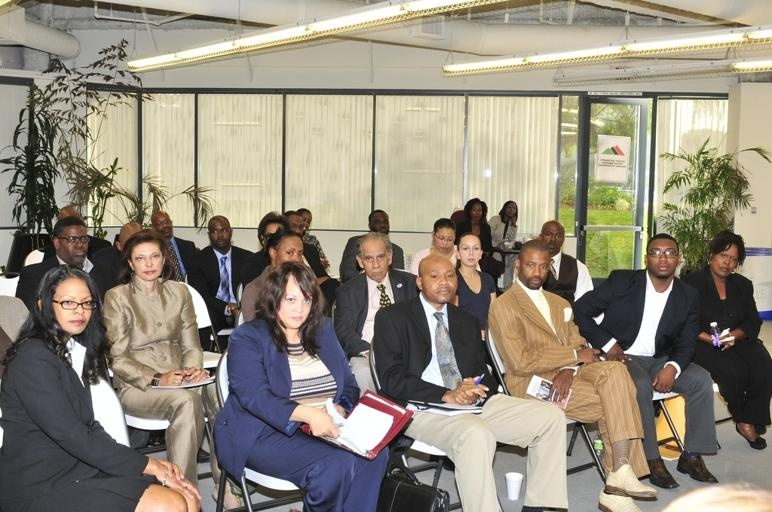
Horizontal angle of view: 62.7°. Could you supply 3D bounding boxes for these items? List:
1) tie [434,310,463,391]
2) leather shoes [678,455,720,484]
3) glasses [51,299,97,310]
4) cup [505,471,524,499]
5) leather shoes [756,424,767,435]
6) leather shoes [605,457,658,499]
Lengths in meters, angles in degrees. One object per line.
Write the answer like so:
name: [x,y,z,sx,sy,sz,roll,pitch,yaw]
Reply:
tie: [0.450,0.690,4.694,0.133,0.536,0.219,-5,8,-43]
leather shoes: [2.597,1.766,5.307,0.121,0.164,0.337,-7,6,-31]
glasses: [-1.830,0.283,3.744,0.232,0.068,0.092,-3,7,-32]
cup: [0.998,1.788,4.980,0.174,0.190,0.176,-1,-3,0]
leather shoes: [3.614,1.669,6.091,0.096,0.142,0.038,1,-1,12]
leather shoes: [1.836,1.675,4.754,0.385,0.223,0.145,-6,-10,43]
